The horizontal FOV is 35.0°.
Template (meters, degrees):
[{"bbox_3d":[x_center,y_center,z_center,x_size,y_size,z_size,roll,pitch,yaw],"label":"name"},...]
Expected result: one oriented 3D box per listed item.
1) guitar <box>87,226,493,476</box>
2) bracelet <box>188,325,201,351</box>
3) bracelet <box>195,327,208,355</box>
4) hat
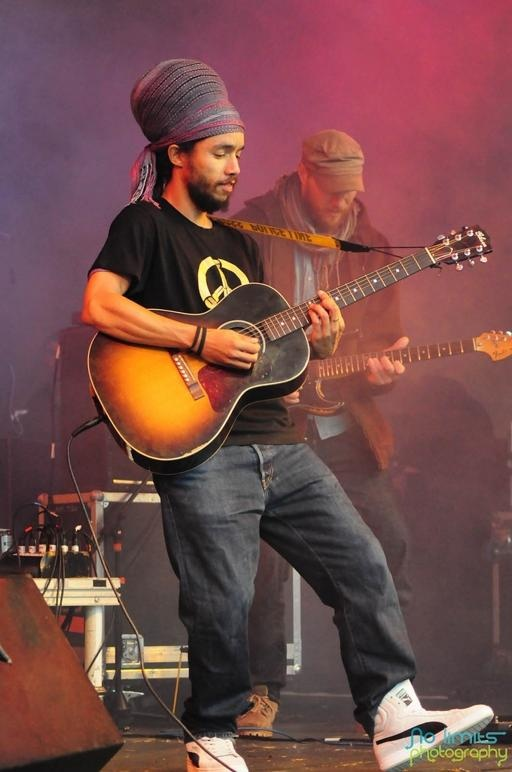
[{"bbox_3d":[0.109,-0.121,2.364,1.312,0.472,0.134,-22,-6,-24],"label":"guitar"},{"bbox_3d":[-0.155,-0.125,2.115,0.014,0.050,0.051,15,-14,-4],"label":"bracelet"},{"bbox_3d":[-0.143,-0.122,2.116,0.016,0.055,0.045,10,3,-27],"label":"bracelet"},{"bbox_3d":[0.369,-1.101,4.046,0.272,0.344,0.184,-14,-38,-18],"label":"hat"}]
